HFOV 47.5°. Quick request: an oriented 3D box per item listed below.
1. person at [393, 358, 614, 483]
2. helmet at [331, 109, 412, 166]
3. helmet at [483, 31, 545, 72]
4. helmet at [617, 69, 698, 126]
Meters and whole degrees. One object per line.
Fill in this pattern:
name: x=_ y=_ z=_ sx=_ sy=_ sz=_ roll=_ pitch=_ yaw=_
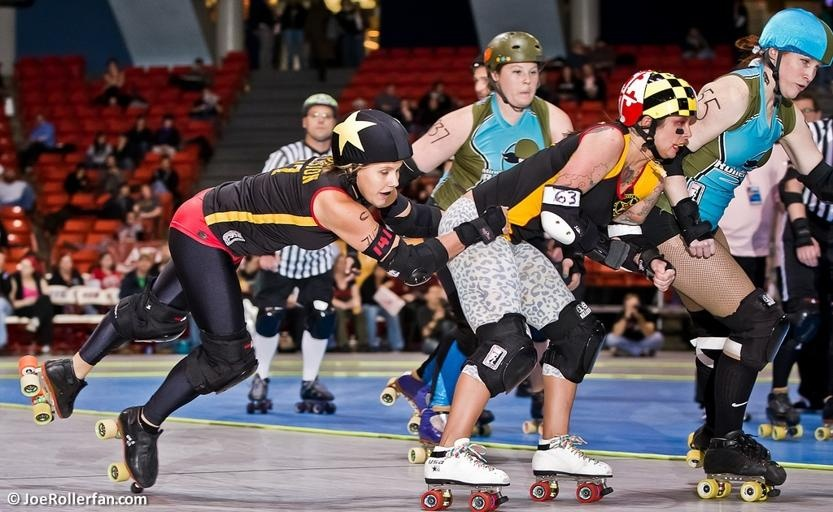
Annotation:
person: x=0.579 y=1.221 z=6.800 sx=1.428 sy=0.979 sz=0.815 roll=6 pitch=-10 yaw=-38
helmet: x=-0.358 y=-0.854 z=6.821 sx=0.679 sy=0.431 sz=0.533 roll=5 pitch=13 yaw=12
helmet: x=0.828 y=-1.742 z=8.033 sx=0.425 sy=0.303 sz=0.326 roll=9 pitch=9 yaw=43
helmet: x=1.790 y=-1.174 z=6.976 sx=0.567 sy=0.455 sz=0.456 roll=9 pitch=30 yaw=25
